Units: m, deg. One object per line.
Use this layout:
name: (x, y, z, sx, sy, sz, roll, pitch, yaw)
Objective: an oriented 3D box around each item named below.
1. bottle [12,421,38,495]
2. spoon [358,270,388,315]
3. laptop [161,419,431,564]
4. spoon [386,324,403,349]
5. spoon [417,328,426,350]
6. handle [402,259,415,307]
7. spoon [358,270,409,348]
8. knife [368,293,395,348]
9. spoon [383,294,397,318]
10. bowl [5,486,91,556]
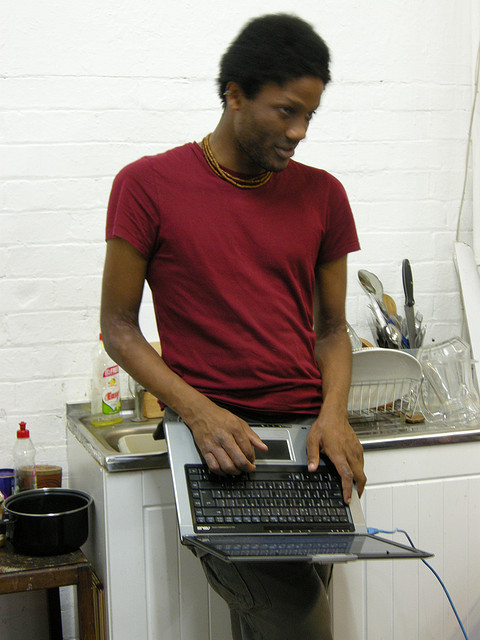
bottle: (-0.542, 0.343, 1.547, 0.055, 0.168, 0.095, -3, -5, -20)
spoon: (0.384, -0.084, 1.821, 0.056, 0.156, 0.026, 7, -60, -33)
laptop: (0.070, 0.273, 0.878, 0.316, 0.240, 0.180, 5, -27, -23)
spoon: (0.430, 0.045, 1.692, 0.044, 0.069, 0.023, -2, -5, -22)
spoon: (0.513, 0.054, 1.735, 0.014, 0.059, 0.016, 22, -6, -12)
handle: (0.485, -0.109, 1.738, 0.028, 0.177, 0.014, -5, -51, 18)
spoon: (0.405, -0.049, 1.798, 0.072, 0.309, 0.041, -4, -48, -13)
knife: (0.393, -0.008, 1.714, 0.024, 0.203, 0.024, 20, -43, -41)
spoon: (0.435, -0.039, 1.820, 0.032, 0.077, 0.020, 8, -45, -27)
bowl: (-0.401, 0.411, 1.290, 0.142, 0.066, 0.166, -2, -11, 8)
